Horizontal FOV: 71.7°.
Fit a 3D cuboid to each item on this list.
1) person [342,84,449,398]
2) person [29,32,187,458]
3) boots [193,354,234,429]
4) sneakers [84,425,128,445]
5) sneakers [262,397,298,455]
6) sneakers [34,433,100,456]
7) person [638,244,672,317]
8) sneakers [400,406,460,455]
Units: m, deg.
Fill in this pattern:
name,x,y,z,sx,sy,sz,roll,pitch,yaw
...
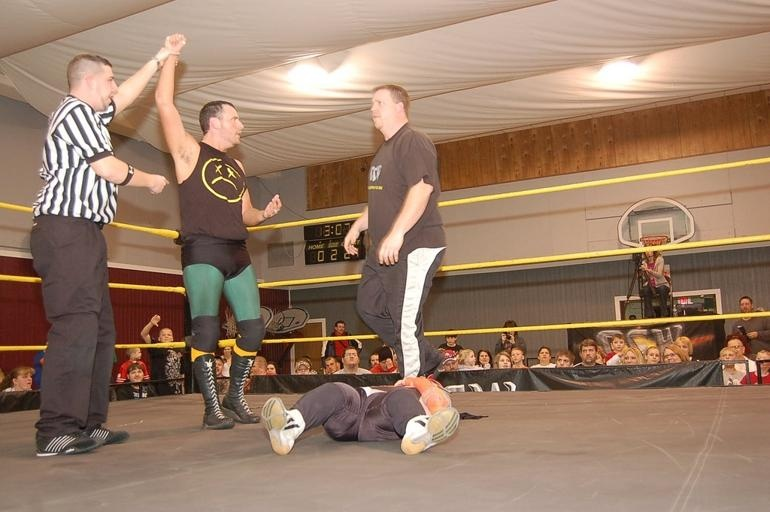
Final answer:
name,x,y,z,sx,sy,sz,roll,pitch,yaw
person,0.098,-0.180,2.867,0.461,1.661,0.750,-1,-9,-10
person,-1.360,-0.039,2.475,0.472,1.804,0.376,3,-11,-33
boots,-0.909,0.716,2.843,0.181,0.372,0.323,2,-10,-28
sneakers,-1.252,0.817,2.427,0.189,0.077,0.064,-2,21,-17
sneakers,-0.393,0.649,2.083,0.111,0.245,0.111,6,5,23
sneakers,-1.349,0.807,2.256,0.243,0.099,0.086,2,-3,-15
person,3.900,0.400,7.658,0.373,0.967,0.591,-7,-10,25
sneakers,0.170,0.662,2.031,0.284,0.112,0.125,-19,-2,-5
